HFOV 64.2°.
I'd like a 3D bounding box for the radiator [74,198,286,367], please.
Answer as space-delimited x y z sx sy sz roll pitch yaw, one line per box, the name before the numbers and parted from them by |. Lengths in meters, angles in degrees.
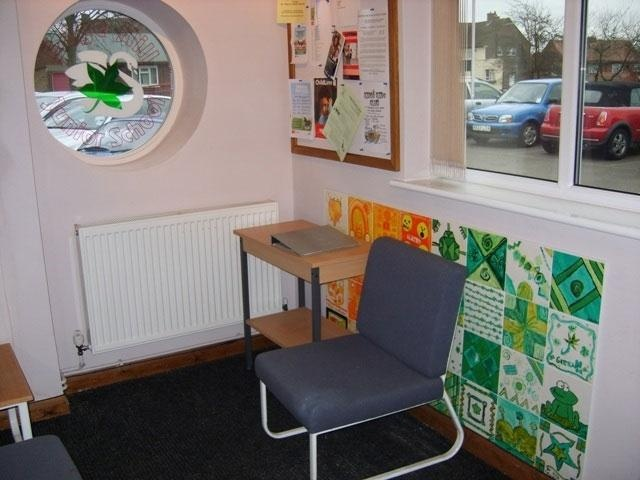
radiator | -0.926 0.215 3.165 1.184 1.007 0.569 -7 18 -31
